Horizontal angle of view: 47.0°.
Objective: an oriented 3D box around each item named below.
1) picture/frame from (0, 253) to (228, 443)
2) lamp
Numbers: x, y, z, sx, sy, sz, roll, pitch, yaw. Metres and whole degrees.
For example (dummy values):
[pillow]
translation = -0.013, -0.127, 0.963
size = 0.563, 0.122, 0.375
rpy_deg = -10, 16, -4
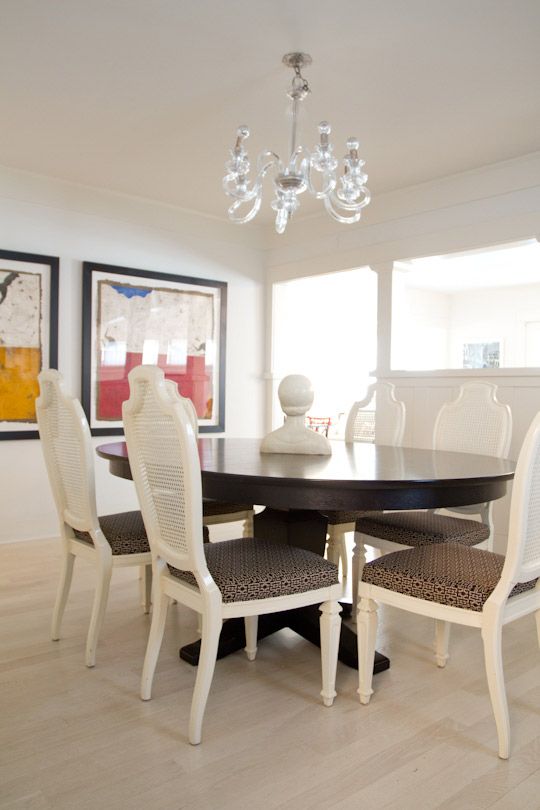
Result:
[picture/frame]
translation = -1.053, -0.413, 3.920
size = 1.454, 1.036, 0.052
rpy_deg = -2, 2, -39
[lamp]
translation = 0.108, -1.142, 2.616
size = 0.546, 0.669, 0.581
rpy_deg = 4, 4, 40
